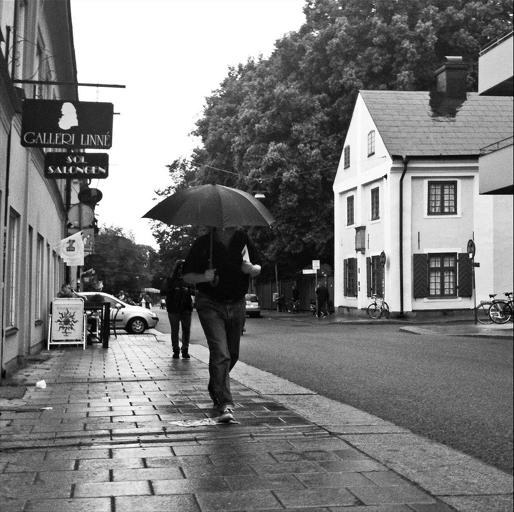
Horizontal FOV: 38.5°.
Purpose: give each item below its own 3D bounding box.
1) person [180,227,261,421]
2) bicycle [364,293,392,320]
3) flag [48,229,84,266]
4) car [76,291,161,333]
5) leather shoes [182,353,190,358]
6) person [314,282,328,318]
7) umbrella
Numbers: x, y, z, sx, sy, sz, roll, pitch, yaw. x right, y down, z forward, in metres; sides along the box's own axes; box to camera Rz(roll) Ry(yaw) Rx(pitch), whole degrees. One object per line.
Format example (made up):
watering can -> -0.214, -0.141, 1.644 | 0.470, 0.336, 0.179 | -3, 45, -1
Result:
person -> -0.335, 0.570, 6.610 | 0.677, 1.670, 0.610 | 2, -5, -6
bicycle -> 5.040, 2.156, 30.288 | 0.503, 0.756, 1.105 | -1, -4, -14
flag -> -4.978, -0.207, 19.162 | 0.999, 1.575, 0.106 | 0, 5, -15
car -> -4.468, 1.769, 23.750 | 2.528, 1.047, 1.204 | 1, 1, -10
leather shoes -> -1.220, 1.708, 12.617 | 0.105, 0.124, 0.070 | 3, -4, 21
person -> 3.049, 2.086, 34.443 | 0.560, 1.590, 1.359 | 1, -5, 5
umbrella -> -0.422, -0.239, 6.905 | 0.869, 0.714, 0.949 | 2, 1, -6
